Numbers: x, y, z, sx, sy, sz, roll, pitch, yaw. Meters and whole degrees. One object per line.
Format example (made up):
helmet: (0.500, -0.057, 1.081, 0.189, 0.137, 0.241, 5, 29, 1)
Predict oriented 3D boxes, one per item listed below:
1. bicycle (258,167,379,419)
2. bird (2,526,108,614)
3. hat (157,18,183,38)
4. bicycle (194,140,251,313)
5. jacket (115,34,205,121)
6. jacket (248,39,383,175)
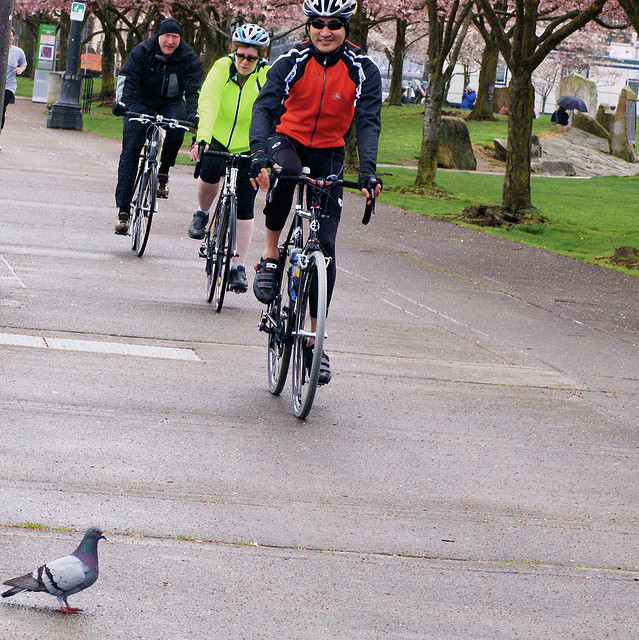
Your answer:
bicycle: (-0.080, -0.177, 8.036, 0.520, 1.344, 1.134, 3, 12, -14)
bird: (-0.925, 0.918, 5.410, 0.454, 0.383, 0.188, -3, 14, -18)
hat: (-1.194, -2.393, 11.887, 0.186, 0.154, 0.218, 4, 12, -11)
bicycle: (-0.717, -0.664, 10.590, 0.299, 1.141, 0.825, 1, 12, -20)
jacket: (-1.238, -2.047, 12.169, 0.702, 0.727, 0.846, 10, 12, 9)
jacket: (-0.007, -1.227, 8.000, 0.672, 0.606, 0.386, 6, 11, -1)
